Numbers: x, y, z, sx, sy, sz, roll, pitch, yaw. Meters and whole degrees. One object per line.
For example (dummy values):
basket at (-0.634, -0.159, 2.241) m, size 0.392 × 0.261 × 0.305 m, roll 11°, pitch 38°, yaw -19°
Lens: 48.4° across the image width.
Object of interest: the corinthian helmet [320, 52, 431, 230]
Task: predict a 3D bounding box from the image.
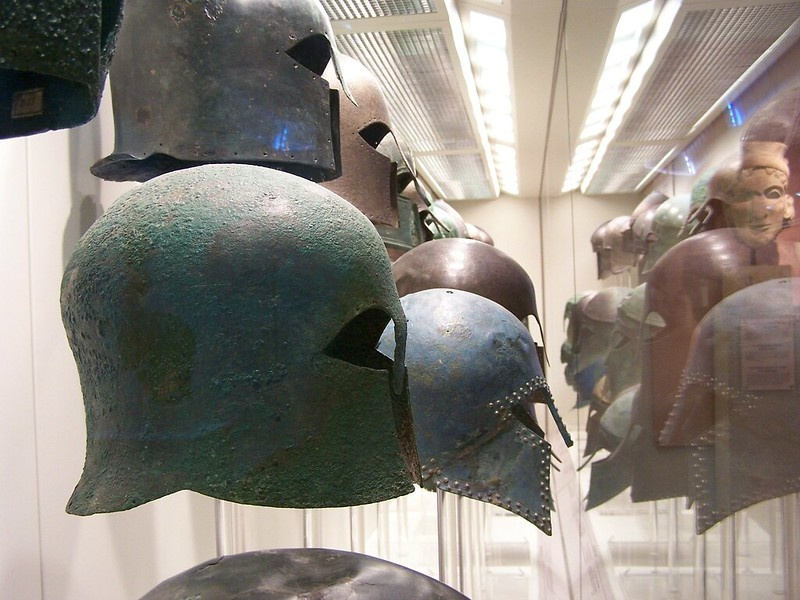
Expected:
corinthian helmet at (-0.098, -0.395, 2.318) m, size 0.437 × 0.342 × 0.474 m, roll 0°, pitch 89°, yaw -4°

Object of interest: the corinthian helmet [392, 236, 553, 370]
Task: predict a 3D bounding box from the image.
corinthian helmet at (0.171, 0.004, 2.567) m, size 0.442 × 0.418 × 0.378 m, roll -3°, pitch 74°, yaw 21°

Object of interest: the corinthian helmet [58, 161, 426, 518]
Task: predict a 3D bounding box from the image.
corinthian helmet at (-0.297, 0.062, 1.503) m, size 0.587 × 0.214 × 0.577 m, roll -4°, pitch 76°, yaw 5°

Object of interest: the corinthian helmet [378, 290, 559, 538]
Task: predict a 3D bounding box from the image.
corinthian helmet at (0.159, 0.219, 1.974) m, size 0.430 × 0.353 × 0.488 m, roll -1°, pitch 96°, yaw 7°
